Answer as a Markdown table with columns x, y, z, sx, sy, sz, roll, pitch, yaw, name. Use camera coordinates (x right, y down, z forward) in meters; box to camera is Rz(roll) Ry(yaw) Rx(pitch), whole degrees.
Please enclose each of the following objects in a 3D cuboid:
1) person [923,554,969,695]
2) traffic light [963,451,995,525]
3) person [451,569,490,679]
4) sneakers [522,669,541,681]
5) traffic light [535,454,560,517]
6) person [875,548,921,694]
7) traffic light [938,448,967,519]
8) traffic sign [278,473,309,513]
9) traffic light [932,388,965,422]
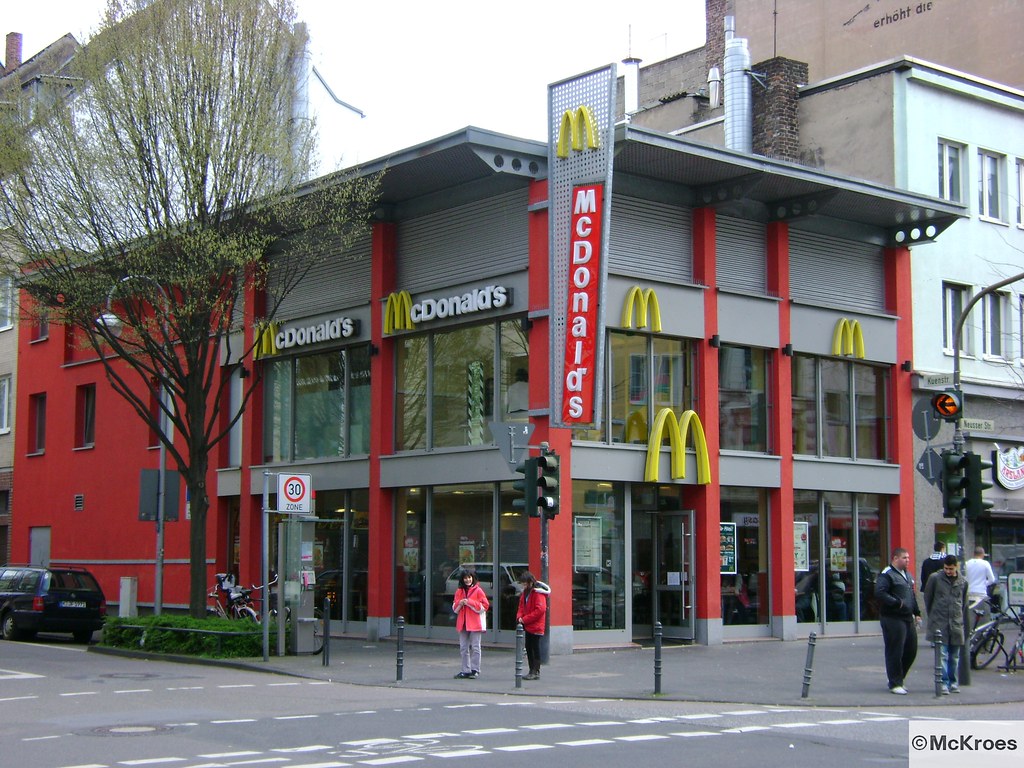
| x | y | z | sx | sy | sz | roll | pitch | yaw | name |
| --- | --- | --- | --- | --- | --- | --- | --- | --- | --- |
| 7.600 | 4.201 | 23.633 | 0.726 | 2.296 | 0.648 | -9 | -14 | 44 | person |
| 8.511 | 1.807 | 24.681 | 0.437 | 1.325 | 1.538 | -3 | -11 | 20 | traffic light |
| -0.799 | 4.509 | 25.487 | 0.587 | 2.009 | 0.964 | 1 | -10 | -2 | person |
| 0.322 | 5.373 | 25.002 | 0.355 | 0.279 | 0.148 | -1 | -7 | 29 | sneakers |
| 0.644 | 1.846 | 25.293 | 0.377 | 1.274 | 0.628 | 0 | -10 | 1 | traffic light |
| 6.650 | 4.250 | 23.302 | 0.598 | 2.099 | 0.896 | -5 | -11 | 29 | person |
| 7.977 | 1.761 | 24.337 | 0.489 | 1.195 | 0.407 | -4 | -11 | 22 | traffic light |
| -4.448 | 2.179 | 27.348 | 0.198 | 0.773 | 0.828 | -7 | -13 | 36 | traffic sign |
| 8.000 | 0.359 | 24.866 | 0.417 | 0.624 | 0.578 | 0 | -11 | 2 | traffic light |
